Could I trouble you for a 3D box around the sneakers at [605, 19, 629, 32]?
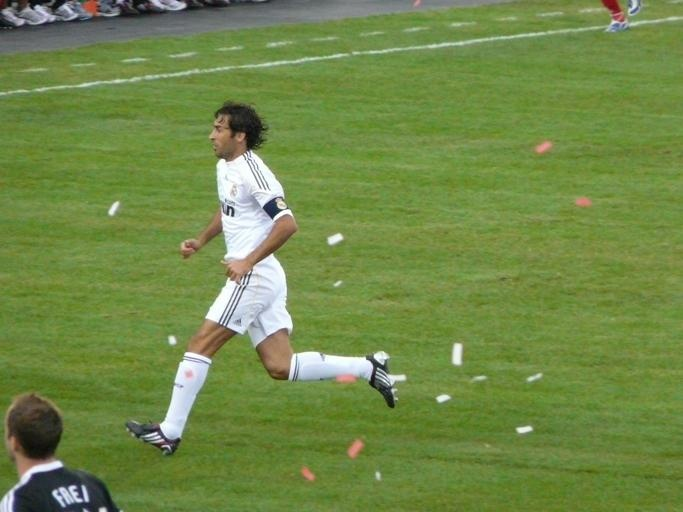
[{"bbox_3d":[3.420,-2.843,21.918,0.281,0.154,0.338,0,11,7],"label":"sneakers"}]
